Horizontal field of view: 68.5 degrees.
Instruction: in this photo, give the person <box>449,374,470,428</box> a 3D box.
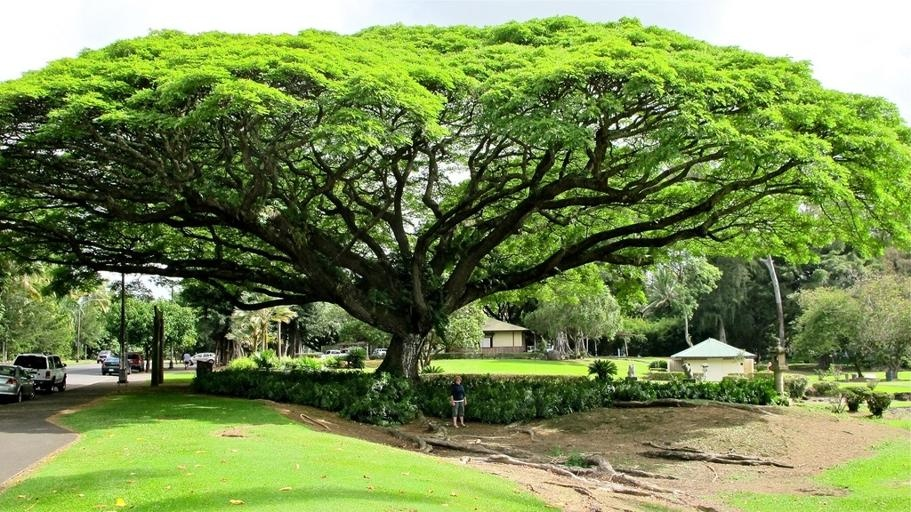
[{"bbox_3d":[0.178,7.509,34.715,0.801,2.565,1.596,2,-10,1],"label":"person"}]
